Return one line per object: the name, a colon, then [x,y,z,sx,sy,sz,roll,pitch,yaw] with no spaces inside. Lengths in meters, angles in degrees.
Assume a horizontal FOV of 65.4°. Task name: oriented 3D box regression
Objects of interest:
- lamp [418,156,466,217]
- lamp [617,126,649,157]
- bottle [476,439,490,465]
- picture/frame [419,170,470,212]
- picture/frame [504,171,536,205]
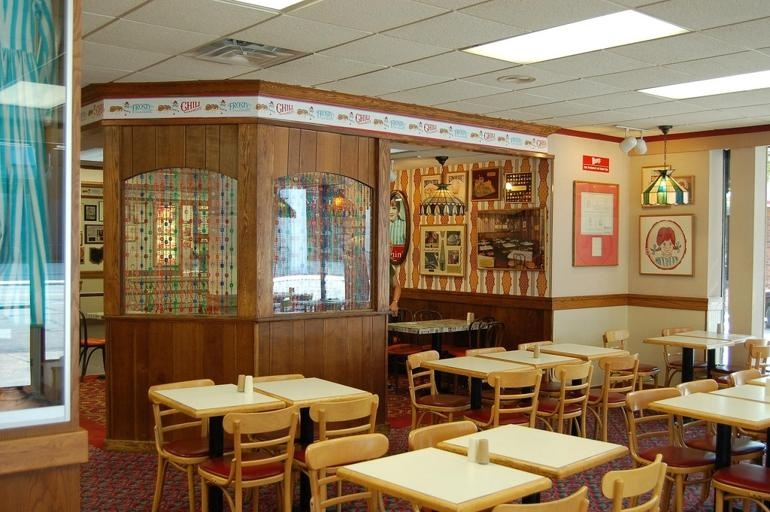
lamp: [0.952,-1.148,10.305,0.934,0.956,0.899,0,-1,-10]
lamp: [3.778,-1.772,9.092,0.245,0.451,0.510,-2,-3,43]
bottle: [0.623,1.223,3.794,0.080,0.127,0.131,-1,0,9]
picture/frame: [0.923,-1.075,10.528,0.846,0.792,0.767,-4,-9,38]
picture/frame: [2.142,-1.084,9.482,0.062,0.395,0.496,-2,0,-44]
